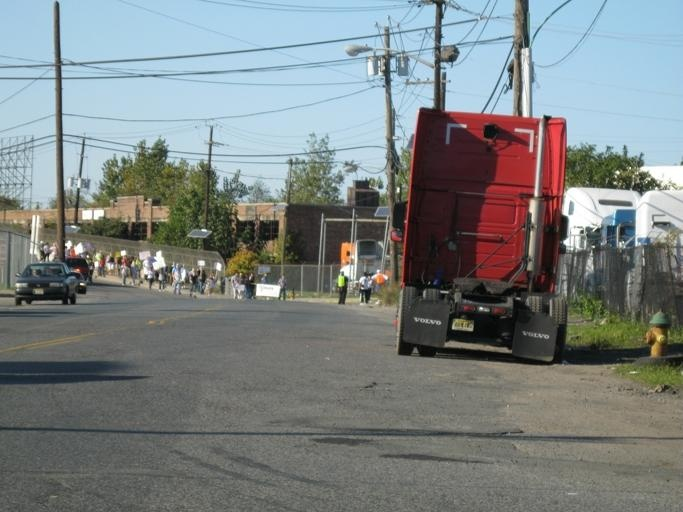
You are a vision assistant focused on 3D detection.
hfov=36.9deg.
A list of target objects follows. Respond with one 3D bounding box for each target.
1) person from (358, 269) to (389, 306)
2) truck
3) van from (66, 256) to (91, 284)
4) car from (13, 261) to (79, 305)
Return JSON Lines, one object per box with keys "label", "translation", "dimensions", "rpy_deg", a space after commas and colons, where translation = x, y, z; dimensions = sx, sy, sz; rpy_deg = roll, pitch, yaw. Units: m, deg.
{"label": "person", "translation": [1.566, 1.621, 50.375], "dimensions": [1.412, 3.142, 0.909], "rpy_deg": [1, 3, -8]}
{"label": "truck", "translation": [2.605, -0.380, 18.620], "dimensions": [2.650, 3.556, 5.149], "rpy_deg": [3, 8, 0]}
{"label": "van", "translation": [-11.645, 0.627, 45.218], "dimensions": [1.003, 0.903, 2.354], "rpy_deg": [0, -7, -1]}
{"label": "car", "translation": [-9.944, 0.908, 35.145], "dimensions": [1.145, 1.036, 2.325], "rpy_deg": [0, -3, 0]}
